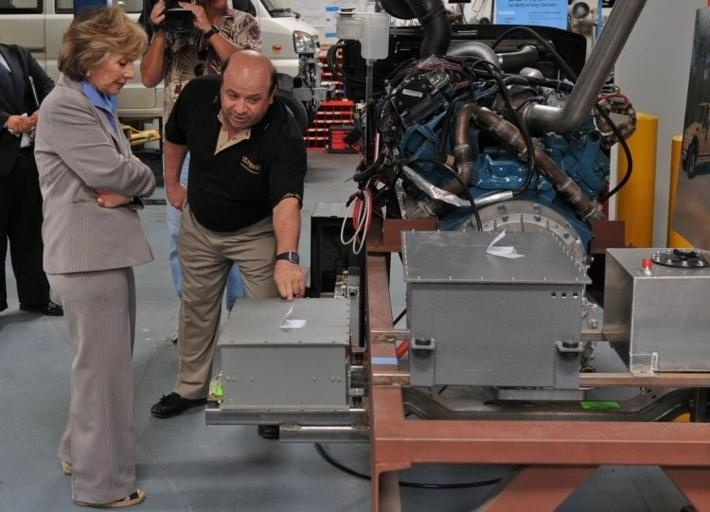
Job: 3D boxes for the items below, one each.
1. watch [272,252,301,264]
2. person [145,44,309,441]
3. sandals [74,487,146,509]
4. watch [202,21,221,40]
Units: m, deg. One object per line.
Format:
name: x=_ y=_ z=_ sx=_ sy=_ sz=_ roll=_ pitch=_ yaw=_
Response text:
watch: x=-0.330 y=0.013 z=3.563 sx=0.103 sy=0.064 sz=0.103 roll=-2 pitch=22 yaw=-3
person: x=-0.653 y=-0.038 z=3.944 sx=1.175 sy=2.026 sz=0.644 roll=11 pitch=25 yaw=27
sandals: x=-1.174 y=1.170 z=3.529 sx=0.298 sy=0.088 sz=0.114 roll=-3 pitch=12 yaw=-9
watch: x=-0.856 y=-1.321 z=4.405 sx=0.108 sy=0.068 sz=0.096 roll=-25 pitch=-15 yaw=-16
